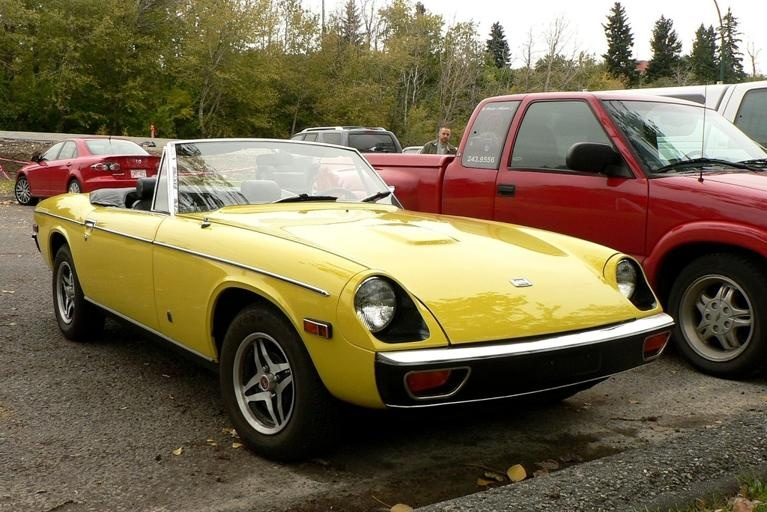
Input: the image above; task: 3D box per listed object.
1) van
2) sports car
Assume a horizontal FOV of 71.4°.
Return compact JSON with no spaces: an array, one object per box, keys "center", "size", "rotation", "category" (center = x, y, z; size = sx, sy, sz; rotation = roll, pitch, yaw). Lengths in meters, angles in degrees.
[{"center":[-1.279,-2.975,16.632],"size":[2.484,2.090,4.150],"rotation":[-9,26,-32],"category":"van"},{"center":[-0.898,0.114,4.281],"size":[2.344,1.303,4.489],"rotation":[-6,11,-43],"category":"sports car"}]
